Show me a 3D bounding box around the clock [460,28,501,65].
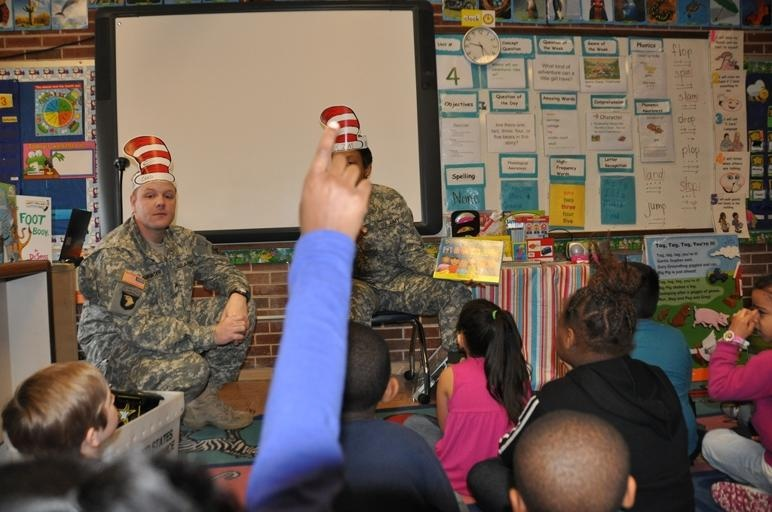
[{"bbox_3d":[0.793,-1.743,5.223,0.337,0.319,0.039,-13,-2,-22],"label":"clock"}]

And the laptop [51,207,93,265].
[{"bbox_3d":[-2.387,-0.155,4.763,0.289,0.342,0.366,19,10,13],"label":"laptop"}]

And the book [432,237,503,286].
[{"bbox_3d":[0.591,0.030,4.407,0.470,0.328,0.090,1,-20,19],"label":"book"}]

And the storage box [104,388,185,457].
[{"bbox_3d":[-1.165,0.854,3.210,0.363,0.323,0.505,0,-7,-5],"label":"storage box"}]

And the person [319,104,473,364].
[{"bbox_3d":[-0.106,-0.035,4.486,1.055,1.860,1.140,-13,9,-37],"label":"person"}]
